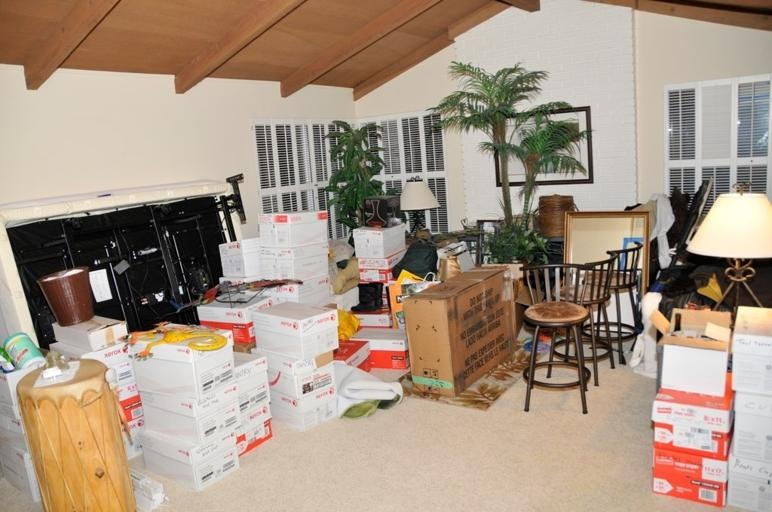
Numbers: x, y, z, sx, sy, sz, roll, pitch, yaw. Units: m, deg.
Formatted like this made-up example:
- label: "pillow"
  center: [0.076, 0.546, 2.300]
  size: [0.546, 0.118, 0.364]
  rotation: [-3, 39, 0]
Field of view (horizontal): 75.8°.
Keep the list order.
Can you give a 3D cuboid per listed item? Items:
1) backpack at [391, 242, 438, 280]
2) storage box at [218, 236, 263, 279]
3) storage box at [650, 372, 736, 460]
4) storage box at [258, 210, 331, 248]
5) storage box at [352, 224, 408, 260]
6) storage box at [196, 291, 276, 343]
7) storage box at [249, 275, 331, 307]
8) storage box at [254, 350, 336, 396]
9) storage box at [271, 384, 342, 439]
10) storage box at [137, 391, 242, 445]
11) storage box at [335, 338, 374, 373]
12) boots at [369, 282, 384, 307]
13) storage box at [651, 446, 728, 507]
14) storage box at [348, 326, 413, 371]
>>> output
- label: "backpack"
  center: [0.365, 0.068, 6.291]
  size: [0.460, 0.258, 0.474]
  rotation: [12, 52, 23]
- label: "storage box"
  center: [-1.656, 0.025, 5.909]
  size: [0.537, 0.446, 0.403]
  rotation: [1, 5, 44]
- label: "storage box"
  center: [2.177, 1.176, 3.545]
  size: [0.652, 0.318, 0.603]
  rotation: [1, 6, 29]
- label: "storage box"
  center: [-1.049, -0.319, 5.717]
  size: [0.797, 0.397, 0.340]
  rotation: [-7, 10, -12]
- label: "storage box"
  center: [-0.045, -0.326, 6.615]
  size: [0.507, 0.343, 0.812]
  rotation: [2, 8, 24]
- label: "storage box"
  center: [-1.581, 0.622, 5.228]
  size: [0.784, 0.330, 0.519]
  rotation: [4, 10, 27]
- label: "storage box"
  center: [-1.062, 0.333, 5.768]
  size: [0.423, 0.167, 0.540]
  rotation: [2, 6, 27]
- label: "storage box"
  center: [-0.832, 1.091, 4.688]
  size: [0.647, 0.270, 0.486]
  rotation: [7, 12, 42]
- label: "storage box"
  center: [-0.736, 1.439, 4.727]
  size: [0.497, 0.247, 0.490]
  rotation: [2, 5, 39]
- label: "storage box"
  center: [-1.666, 1.323, 4.241]
  size: [0.603, 0.236, 0.437]
  rotation: [2, 5, 28]
- label: "storage box"
  center: [-0.328, 1.048, 5.291]
  size: [0.394, 0.191, 0.372]
  rotation: [1, 4, 28]
- label: "boots"
  center: [-0.099, 0.491, 6.399]
  size: [0.161, 0.286, 0.281]
  rotation: [-7, 10, -1]
- label: "storage box"
  center: [2.184, 1.584, 3.579]
  size: [0.464, 0.232, 0.438]
  rotation: [2, 3, 26]
- label: "storage box"
  center: [-0.001, 1.022, 5.458]
  size: [0.682, 0.277, 0.446]
  rotation: [1, 7, 15]
